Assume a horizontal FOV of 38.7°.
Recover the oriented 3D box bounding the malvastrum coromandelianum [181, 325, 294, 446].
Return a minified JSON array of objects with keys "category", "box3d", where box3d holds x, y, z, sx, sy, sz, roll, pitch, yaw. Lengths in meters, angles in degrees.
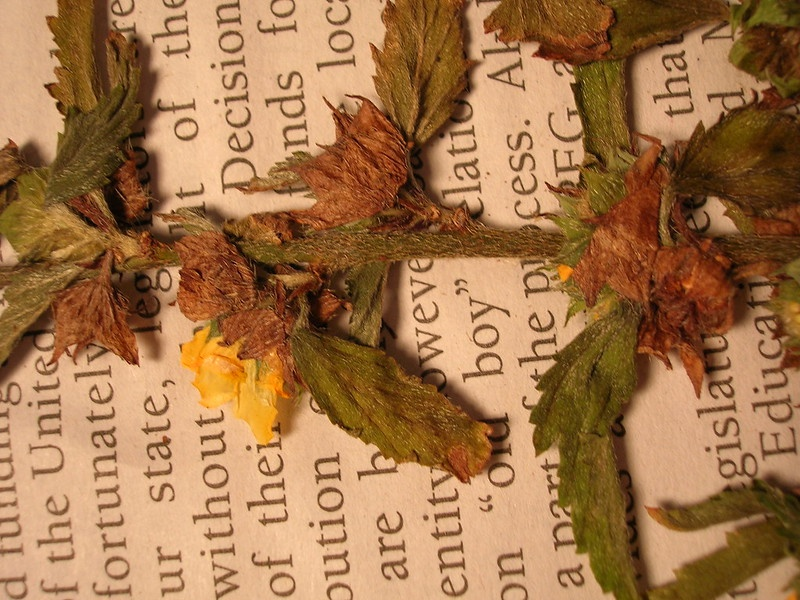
[{"category":"malvastrum coromandelianum","box3d":[-0.434,0.169,2.797,0.256,0.242,0.100,18,-64,-47]}]
